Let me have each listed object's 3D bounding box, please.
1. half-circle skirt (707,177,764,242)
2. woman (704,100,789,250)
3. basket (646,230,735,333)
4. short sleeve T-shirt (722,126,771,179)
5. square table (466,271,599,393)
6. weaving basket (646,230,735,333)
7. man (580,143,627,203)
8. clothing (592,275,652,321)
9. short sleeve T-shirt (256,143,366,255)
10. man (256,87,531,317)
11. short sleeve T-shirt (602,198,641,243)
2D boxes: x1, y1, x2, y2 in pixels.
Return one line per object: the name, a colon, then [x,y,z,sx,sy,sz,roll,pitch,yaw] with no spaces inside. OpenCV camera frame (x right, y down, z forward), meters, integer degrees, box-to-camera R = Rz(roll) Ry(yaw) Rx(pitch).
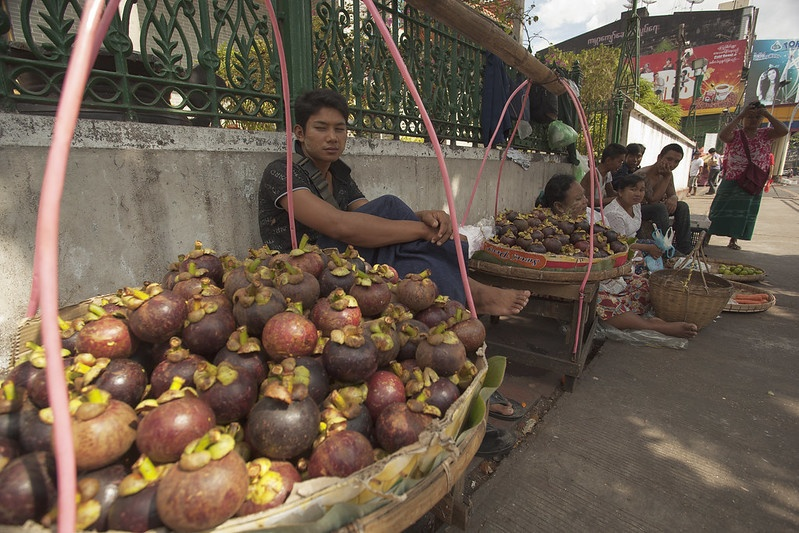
half-circle skirt: [5.734,-1.033,8.839,0.710,0.402,1.669,4,53,36]
woman: [5.522,-1.400,8.239,0.933,2.293,0.759,11,15,36]
basket: [3.238,0.133,5.626,0.703,0.946,0.754,3,16,4]
short sleeve T-shirt: [5.440,-1.746,7.970,0.531,0.766,0.393,25,55,35]
square table: [1.458,0.614,5.139,1.136,0.893,1.150,4,6,30]
weaving basket: [3.221,0.151,5.671,0.722,0.960,0.753,3,12,-29]
man: [3.114,-1.369,7.770,0.547,0.901,0.611,11,23,12]
clothing: [2.591,0.341,5.870,0.702,0.329,0.564,-13,4,34]
short sleeve T-shirt: [-0.811,-0.700,4.311,0.558,1.000,1.033,21,33,15]
man: [-0.061,-0.544,4.237,2.279,1.710,1.117,3,14,23]
short sleeve T-shirt: [2.580,-0.524,5.940,0.591,0.428,0.298,-11,7,-42]
